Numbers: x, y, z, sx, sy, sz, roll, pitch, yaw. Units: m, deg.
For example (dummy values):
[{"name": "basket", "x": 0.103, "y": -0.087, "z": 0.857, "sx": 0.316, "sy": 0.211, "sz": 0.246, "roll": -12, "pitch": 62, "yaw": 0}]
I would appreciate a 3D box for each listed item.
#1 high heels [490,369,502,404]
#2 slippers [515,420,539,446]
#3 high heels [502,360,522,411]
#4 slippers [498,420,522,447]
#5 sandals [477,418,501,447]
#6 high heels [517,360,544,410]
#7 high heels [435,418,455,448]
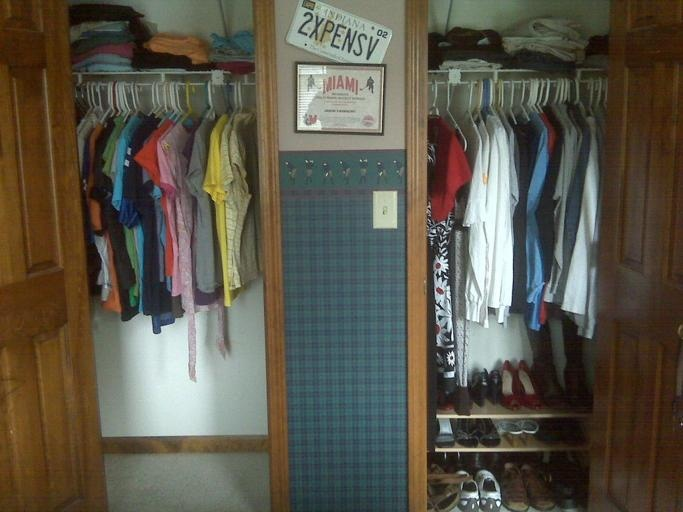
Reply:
[{"name": "high heels", "x": 0.602, "y": 0.509, "z": 2.454, "sx": 0.050, "sy": 0.133, "sz": 0.052, "roll": -1, "pitch": -2, "yaw": 9}, {"name": "slippers", "x": 0.715, "y": 0.676, "z": 2.405, "sx": 0.041, "sy": 0.051, "sz": 0.131, "roll": -1, "pitch": 11, "yaw": 6}, {"name": "high heels", "x": 0.652, "y": 0.502, "z": 2.434, "sx": 0.065, "sy": 0.188, "sz": 0.076, "roll": -4, "pitch": -10, "yaw": 15}, {"name": "slippers", "x": 0.643, "y": 0.679, "z": 2.447, "sx": 0.064, "sy": 0.076, "sz": 0.108, "roll": -5, "pitch": 46, "yaw": -2}, {"name": "sandals", "x": 0.570, "y": 0.687, "z": 2.440, "sx": 0.046, "sy": 0.044, "sz": 0.124, "roll": -4, "pitch": 44, "yaw": 5}, {"name": "high heels", "x": 0.715, "y": 0.501, "z": 2.393, "sx": 0.069, "sy": 0.198, "sz": 0.075, "roll": -20, "pitch": -4, "yaw": 26}, {"name": "high heels", "x": 0.400, "y": 0.688, "z": 2.437, "sx": 0.049, "sy": 0.057, "sz": 0.145, "roll": -2, "pitch": 8, "yaw": 4}]
